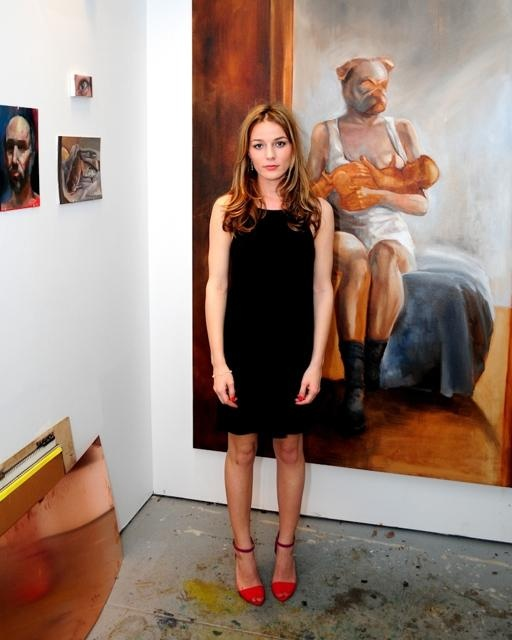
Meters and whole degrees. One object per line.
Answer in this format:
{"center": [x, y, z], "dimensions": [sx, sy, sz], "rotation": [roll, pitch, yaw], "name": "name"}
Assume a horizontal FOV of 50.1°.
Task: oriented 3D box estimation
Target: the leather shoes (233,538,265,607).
{"center": [-0.019, 0.790, 1.683], "dimensions": [0.052, 0.079, 0.178], "rotation": [-1, 3, -8], "name": "leather shoes"}

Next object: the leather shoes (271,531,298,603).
{"center": [0.087, 0.787, 1.695], "dimensions": [0.052, 0.076, 0.176], "rotation": [1, 9, 5], "name": "leather shoes"}

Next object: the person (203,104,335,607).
{"center": [0.043, 0.111, 1.660], "dimensions": [0.393, 1.457, 0.266], "rotation": [-1, 8, -7], "name": "person"}

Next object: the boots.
{"center": [0.363, 0.179, 1.887], "dimensions": [0.096, 0.316, 0.205], "rotation": [1, 9, 7], "name": "boots"}
